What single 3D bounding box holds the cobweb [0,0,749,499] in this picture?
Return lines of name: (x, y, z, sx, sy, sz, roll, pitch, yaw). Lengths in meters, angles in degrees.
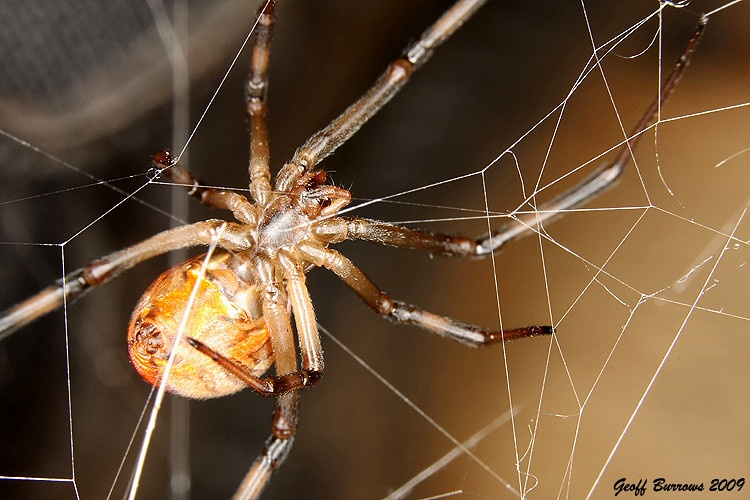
cobweb: (-0.054, -0.124, 1.770, 1.617, 0.392, 0.846, -45, -91, -3)
